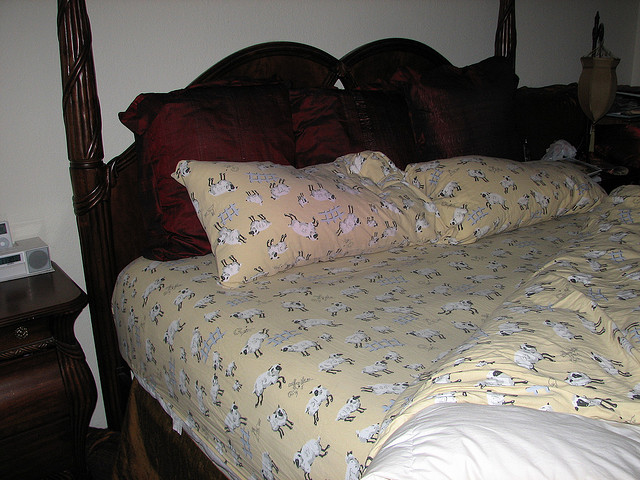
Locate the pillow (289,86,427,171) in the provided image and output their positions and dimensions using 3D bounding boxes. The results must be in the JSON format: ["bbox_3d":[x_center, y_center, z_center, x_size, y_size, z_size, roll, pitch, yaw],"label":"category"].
[{"bbox_3d":[0.244,-0.556,2.188,0.564,0.088,0.497,-11,-10,-36],"label":"pillow"}]

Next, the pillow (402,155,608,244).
[{"bbox_3d":[0.787,-0.194,1.920,0.668,0.162,0.404,-9,25,-14],"label":"pillow"}]

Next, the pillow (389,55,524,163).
[{"bbox_3d":[0.626,-0.607,2.309,0.626,0.518,0.164,-9,-5,-20],"label":"pillow"}]
